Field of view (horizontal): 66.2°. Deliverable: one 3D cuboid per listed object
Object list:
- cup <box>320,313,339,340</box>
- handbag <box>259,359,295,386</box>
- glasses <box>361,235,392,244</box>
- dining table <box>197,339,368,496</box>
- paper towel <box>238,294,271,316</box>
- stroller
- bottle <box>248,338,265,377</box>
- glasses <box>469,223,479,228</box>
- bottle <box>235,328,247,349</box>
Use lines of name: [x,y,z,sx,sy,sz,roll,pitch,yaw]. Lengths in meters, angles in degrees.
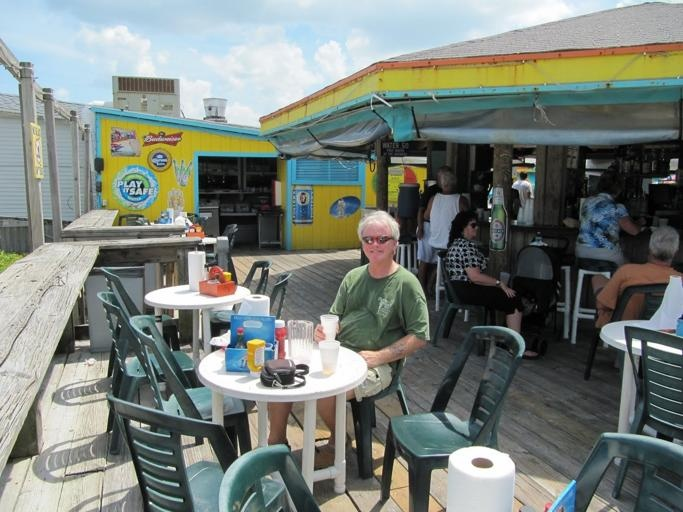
cup: [-0.070,0.449,3.302,0.132,0.149,0.137,0,-2,0]
handbag: [-0.343,0.618,2.806,0.125,0.073,0.145,4,-4,-41]
glasses: [0.244,-0.102,3.533,0.208,0.059,0.079,-1,8,2]
dining table: [-0.324,0.956,3.066,0.856,0.692,0.890,0,9,4]
paper towel: [-0.535,0.290,3.210,0.138,0.141,0.141,3,2,23]
stroller: [2.179,0.367,5.901,0.685,1.067,0.592,-14,14,-30]
bottle: [-0.463,0.574,2.965,0.117,0.207,0.125,-9,-8,-1]
glasses: [1.468,-0.332,5.856,0.087,0.031,0.092,-4,-20,-35]
bottle: [-0.571,0.465,2.981,0.061,0.112,0.040,0,8,5]
